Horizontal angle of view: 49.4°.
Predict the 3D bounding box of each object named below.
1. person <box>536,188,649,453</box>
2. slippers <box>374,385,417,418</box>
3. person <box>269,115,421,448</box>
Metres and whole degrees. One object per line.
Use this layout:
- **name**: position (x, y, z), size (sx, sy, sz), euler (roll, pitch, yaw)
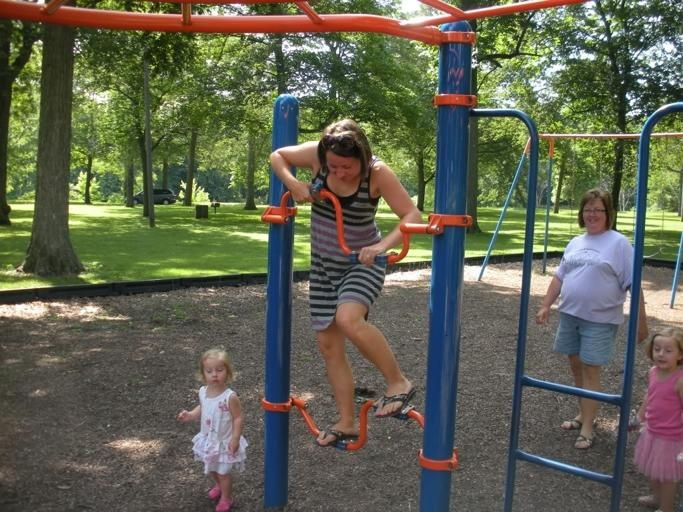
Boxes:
- **person**: position (1.947, 0.457, 5.775), size (0.755, 1.920, 0.792), euler (3, 14, 15)
- **slippers**: position (0.314, 0.853, 4.365), size (0.263, 0.068, 0.135), euler (-41, 26, -14)
- **person**: position (0.062, 0.329, 4.679), size (0.666, 2.335, 1.094), euler (-6, 14, -22)
